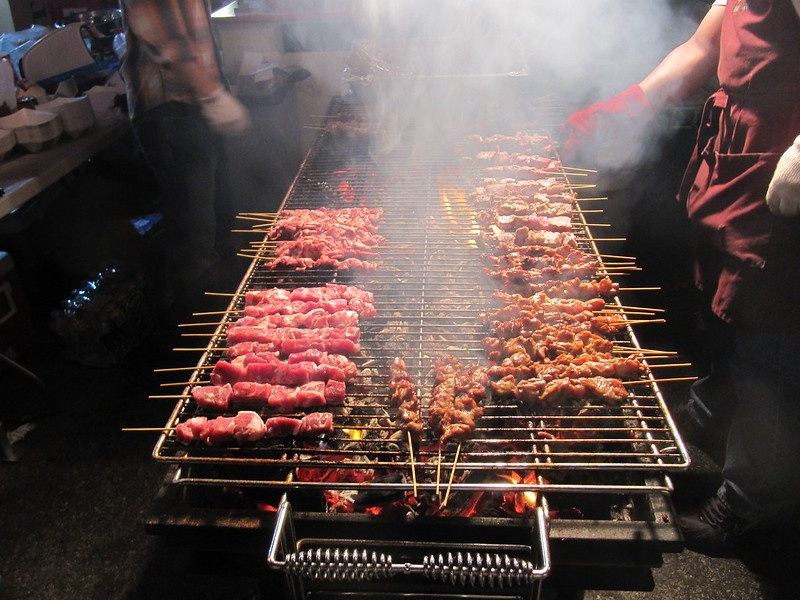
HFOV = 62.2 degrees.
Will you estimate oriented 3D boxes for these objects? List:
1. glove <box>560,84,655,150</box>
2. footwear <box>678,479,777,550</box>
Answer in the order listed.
[{"bbox_3d":[2.141,-1.804,6.861,0.822,0.230,0.505,-26,30,30],"label":"glove"},{"bbox_3d":[2.996,1.965,6.004,1.052,0.668,0.378,0,50,5],"label":"footwear"}]
